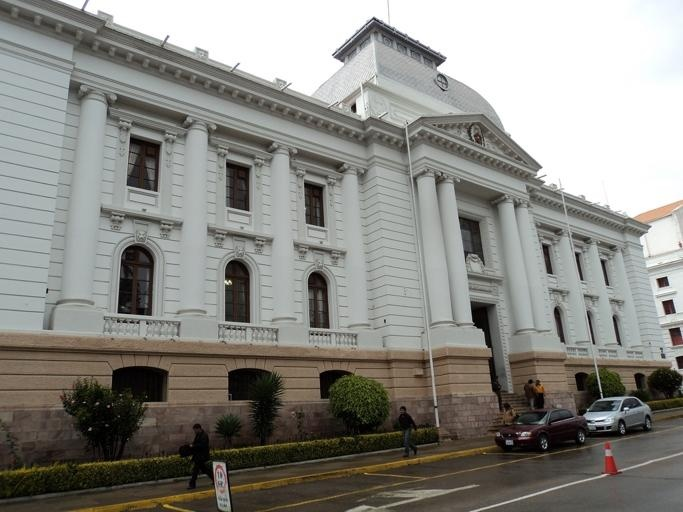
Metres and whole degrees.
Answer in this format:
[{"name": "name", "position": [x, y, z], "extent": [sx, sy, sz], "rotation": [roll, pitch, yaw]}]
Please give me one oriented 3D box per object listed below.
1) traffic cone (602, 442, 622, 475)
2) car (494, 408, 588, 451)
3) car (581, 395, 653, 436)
[{"name": "traffic cone", "position": [7.732, 5.812, 14.502], "extent": [0.339, 0.813, 1.118], "rotation": [-16, -22, 34]}, {"name": "car", "position": [8.307, 7.236, 21.014], "extent": [3.825, 1.547, 1.324], "rotation": [7, -21, -31]}, {"name": "car", "position": [13.601, 7.976, 25.141], "extent": [3.965, 1.727, 1.223], "rotation": [7, -21, -29]}]
